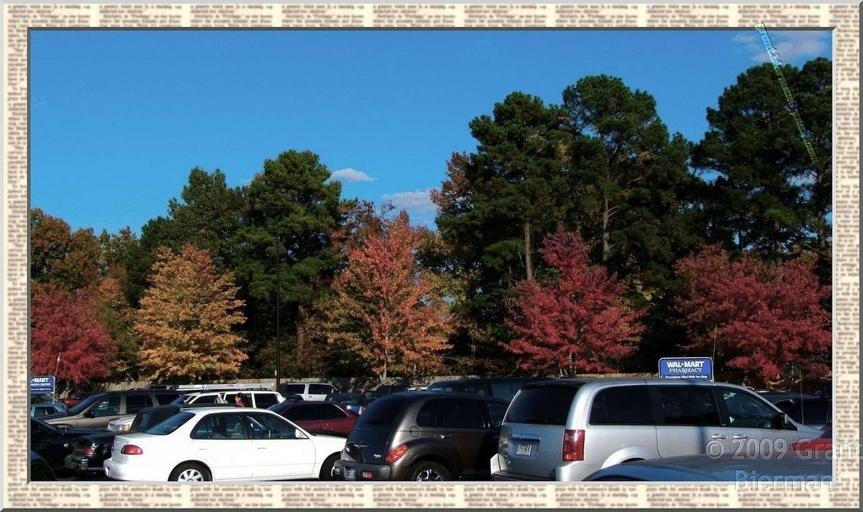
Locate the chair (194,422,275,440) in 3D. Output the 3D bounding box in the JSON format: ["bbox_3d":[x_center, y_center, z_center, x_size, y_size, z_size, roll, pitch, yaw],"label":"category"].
[{"bbox_3d":[-6.628,5.757,33.651,2.909,0.463,0.701,-1,3,-12],"label":"chair"}]
